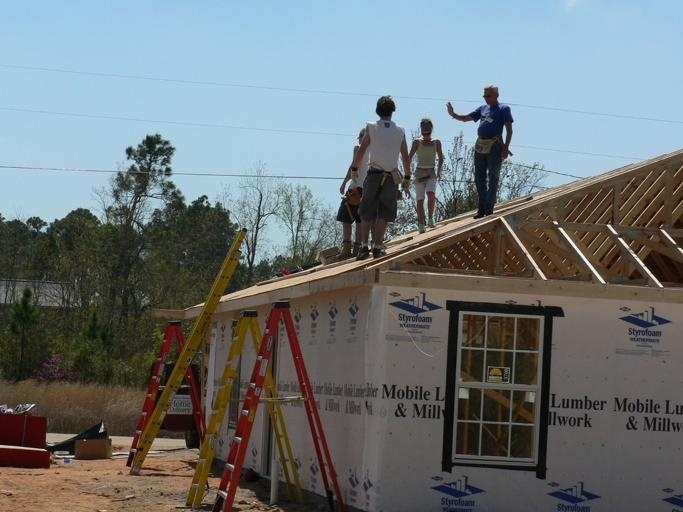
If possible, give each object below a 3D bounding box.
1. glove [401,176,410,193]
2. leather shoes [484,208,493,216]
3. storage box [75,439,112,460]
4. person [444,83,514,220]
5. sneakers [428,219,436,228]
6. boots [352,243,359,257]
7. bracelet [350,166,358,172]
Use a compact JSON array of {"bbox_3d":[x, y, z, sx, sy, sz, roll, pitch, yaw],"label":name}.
[{"bbox_3d":[1.051,-1.174,19.699,0.073,0.246,0.166,-2,19,3],"label":"glove"},{"bbox_3d":[2.667,-0.798,21.737,0.115,0.131,0.194,-3,-2,11],"label":"leather shoes"},{"bbox_3d":[-4.931,3.736,23.750,0.425,0.323,0.458,0,-3,-9],"label":"storage box"},{"bbox_3d":[2.614,-1.773,21.719,0.829,2.344,1.278,3,-12,4],"label":"person"},{"bbox_3d":[1.727,-0.621,23.030,0.126,0.284,0.128,-1,-2,18],"label":"sneakers"},{"bbox_3d":[0.264,-0.133,21.865,0.083,0.298,0.116,0,26,0],"label":"boots"},{"bbox_3d":[0.215,-1.451,19.872,0.101,0.101,0.086,12,-10,-35],"label":"bracelet"}]
